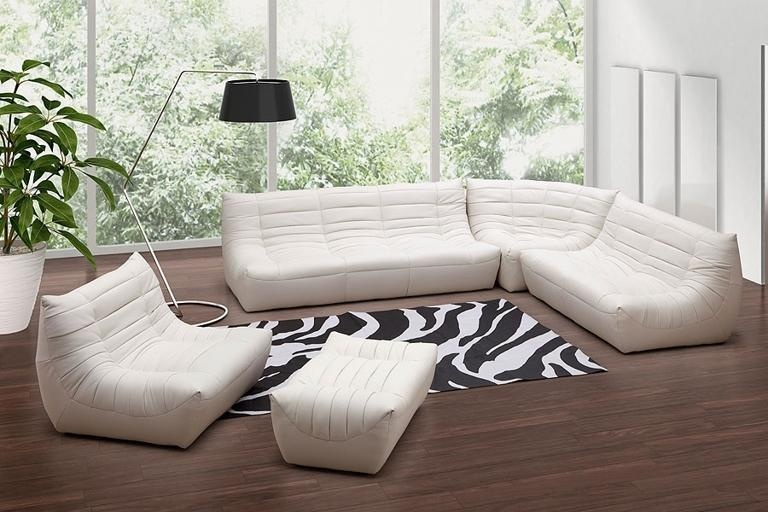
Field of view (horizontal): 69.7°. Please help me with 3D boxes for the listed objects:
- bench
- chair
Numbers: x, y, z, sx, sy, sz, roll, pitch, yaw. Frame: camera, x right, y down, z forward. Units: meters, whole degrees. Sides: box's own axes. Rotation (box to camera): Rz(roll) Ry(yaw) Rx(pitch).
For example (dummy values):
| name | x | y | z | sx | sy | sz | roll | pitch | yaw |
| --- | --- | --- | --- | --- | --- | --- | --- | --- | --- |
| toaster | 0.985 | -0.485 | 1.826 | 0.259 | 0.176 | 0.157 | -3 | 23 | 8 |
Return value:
| name | x | y | z | sx | sy | sz | roll | pitch | yaw |
| --- | --- | --- | --- | --- | --- | --- | --- | --- | --- |
| bench | -0.130 | 0.838 | 3.378 | 0.754 | 0.361 | 1.113 | 4 | 11 | 16 |
| chair | -1.456 | 0.558 | 3.604 | 1.195 | 0.651 | 1.221 | 12 | 15 | 10 |
